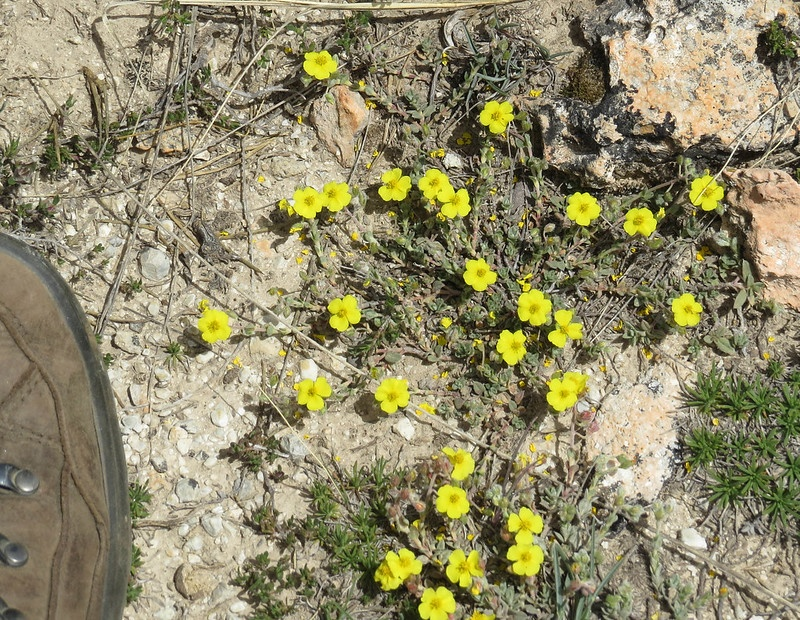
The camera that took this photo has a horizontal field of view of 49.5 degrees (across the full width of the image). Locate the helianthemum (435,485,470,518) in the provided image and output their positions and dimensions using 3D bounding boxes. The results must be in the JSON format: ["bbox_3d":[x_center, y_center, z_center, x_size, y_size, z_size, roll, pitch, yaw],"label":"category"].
[{"bbox_3d":[0.299,1.088,4.935,0.167,0.067,0.190,-30,77,4],"label":"helianthemum"}]

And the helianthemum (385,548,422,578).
[{"bbox_3d":[0.024,1.450,5.016,0.208,0.226,0.168,-10,84,-2],"label":"helianthemum"}]

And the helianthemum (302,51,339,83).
[{"bbox_3d":[-0.501,-1.524,5.375,0.184,0.121,0.201,-41,86,-5],"label":"helianthemum"}]

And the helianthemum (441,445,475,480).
[{"bbox_3d":[0.349,0.915,5.151,0.207,0.314,0.178,7,83,0],"label":"helianthemum"}]

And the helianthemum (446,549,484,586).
[{"bbox_3d":[0.371,1.484,5.008,0.221,0.259,0.225,7,83,0],"label":"helianthemum"}]
